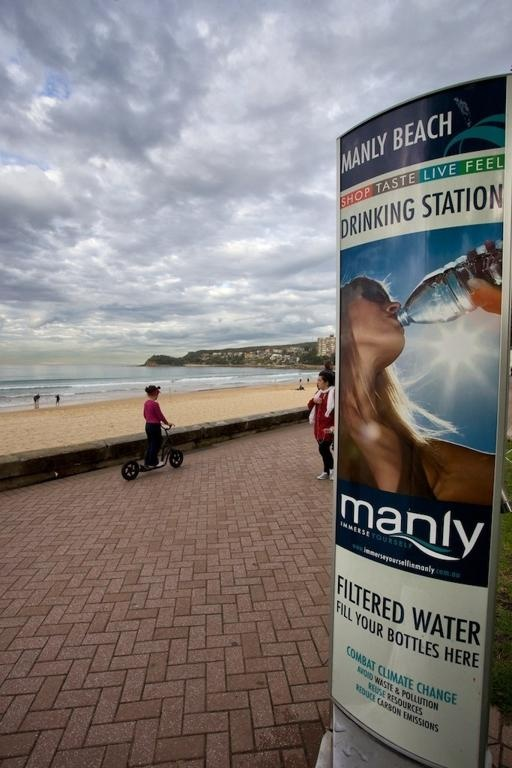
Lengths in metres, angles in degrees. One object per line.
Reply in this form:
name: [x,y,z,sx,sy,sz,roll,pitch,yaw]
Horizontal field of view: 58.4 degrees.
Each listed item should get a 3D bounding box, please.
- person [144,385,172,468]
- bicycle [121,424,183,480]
person: [-1.870,0.789,8.773,0.469,1.565,1.574,-1,4,-13]
bicycle: [-2.040,1.394,8.641,1.263,0.967,0.604,-13,21,-42]
